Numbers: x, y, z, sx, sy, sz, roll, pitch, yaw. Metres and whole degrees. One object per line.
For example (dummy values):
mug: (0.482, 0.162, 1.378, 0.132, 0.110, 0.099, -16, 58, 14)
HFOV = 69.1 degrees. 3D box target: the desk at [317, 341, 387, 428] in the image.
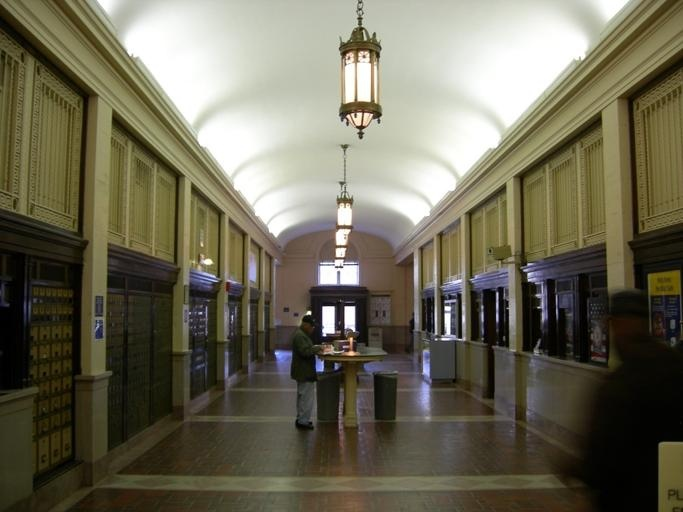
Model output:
desk: (0.128, 2.764, 9.436, 1.008, 1.434, 1.954, 1, -9, 1)

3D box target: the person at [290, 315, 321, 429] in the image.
person: (-0.666, 2.131, 9.213, 0.486, 2.027, 0.504, 0, -4, 9)

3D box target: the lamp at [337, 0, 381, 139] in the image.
lamp: (0.243, -2.583, 6.453, 0.487, 2.428, 1.546, 0, -4, 2)

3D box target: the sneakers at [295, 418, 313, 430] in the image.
sneakers: (-0.675, 3.080, 9.063, 0.348, 0.189, 0.125, -1, -6, 5)
